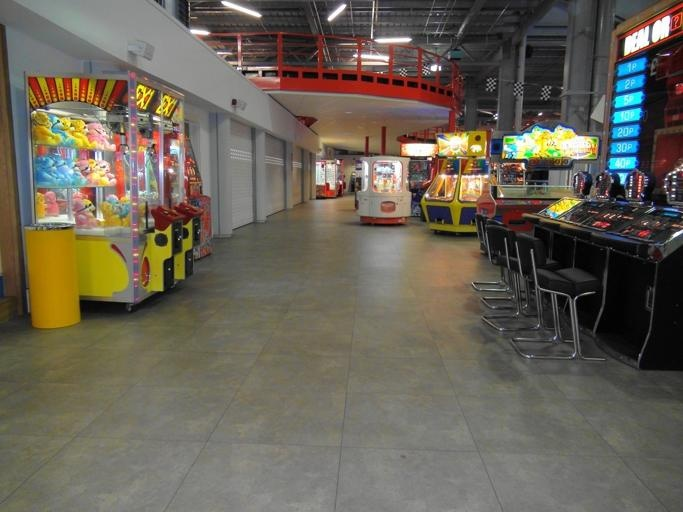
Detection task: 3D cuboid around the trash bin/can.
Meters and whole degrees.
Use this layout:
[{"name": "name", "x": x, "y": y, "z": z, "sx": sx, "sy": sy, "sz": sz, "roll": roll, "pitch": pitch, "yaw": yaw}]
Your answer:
[{"name": "trash bin/can", "x": -2.836, "y": 0.213, "z": 4.295, "sx": 0.507, "sy": 1.053, "sz": 0.482, "roll": 4, "pitch": 27, "yaw": -28}]
